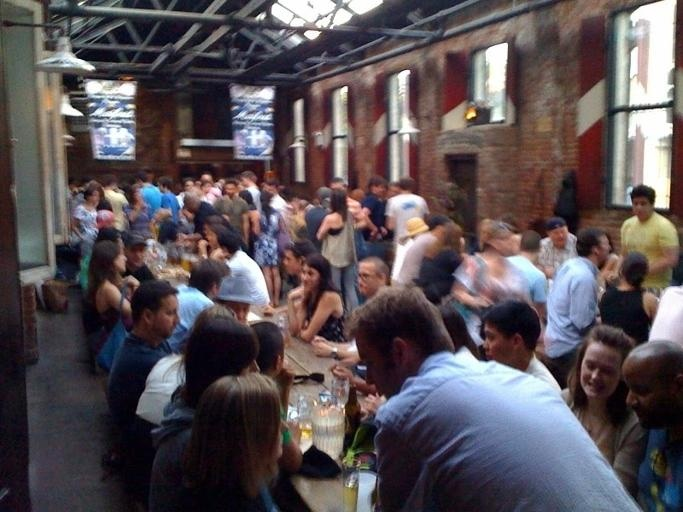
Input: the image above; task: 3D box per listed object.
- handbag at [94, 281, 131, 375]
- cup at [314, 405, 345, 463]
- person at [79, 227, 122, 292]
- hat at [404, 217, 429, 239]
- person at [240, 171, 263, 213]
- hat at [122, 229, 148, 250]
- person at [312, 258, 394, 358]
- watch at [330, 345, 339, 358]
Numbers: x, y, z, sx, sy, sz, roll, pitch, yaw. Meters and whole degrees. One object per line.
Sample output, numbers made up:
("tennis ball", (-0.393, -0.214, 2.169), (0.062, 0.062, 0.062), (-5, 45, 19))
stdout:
("handbag", (-1.853, 0.627, 4.519), (0.295, 0.721, 0.173), (7, 3, 44))
("cup", (-0.057, 0.878, 2.790), (0.190, 0.214, 0.197), (2, -6, 0))
("person", (-2.435, 0.049, 5.587), (0.256, 0.758, 0.560), (21, -16, -21))
("hat", (0.901, -0.356, 6.365), (0.212, 0.211, 0.282), (-22, -12, -20))
("person", (-1.490, -1.187, 9.779), (0.214, 0.825, 0.237), (2, 14, 37))
("hat", (-2.123, -0.164, 5.684), (0.286, 0.217, 0.400), (3, 1, -41))
("person", (0.177, 0.424, 4.468), (0.789, 0.825, 0.525), (5, -3, -21))
("watch", (-0.045, 0.713, 4.117), (0.044, 0.064, 0.070), (5, -9, 5))
